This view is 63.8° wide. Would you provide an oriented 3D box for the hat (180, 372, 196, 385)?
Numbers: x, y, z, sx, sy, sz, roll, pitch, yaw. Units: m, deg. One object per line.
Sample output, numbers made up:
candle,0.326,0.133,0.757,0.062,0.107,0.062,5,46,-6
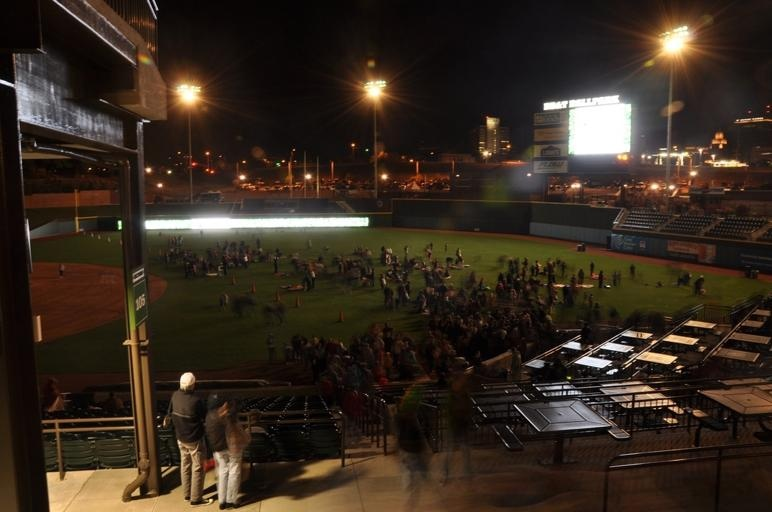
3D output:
hat,-3.956,2.477,12.284,0.243,0.321,0.273,-1,5,-11
